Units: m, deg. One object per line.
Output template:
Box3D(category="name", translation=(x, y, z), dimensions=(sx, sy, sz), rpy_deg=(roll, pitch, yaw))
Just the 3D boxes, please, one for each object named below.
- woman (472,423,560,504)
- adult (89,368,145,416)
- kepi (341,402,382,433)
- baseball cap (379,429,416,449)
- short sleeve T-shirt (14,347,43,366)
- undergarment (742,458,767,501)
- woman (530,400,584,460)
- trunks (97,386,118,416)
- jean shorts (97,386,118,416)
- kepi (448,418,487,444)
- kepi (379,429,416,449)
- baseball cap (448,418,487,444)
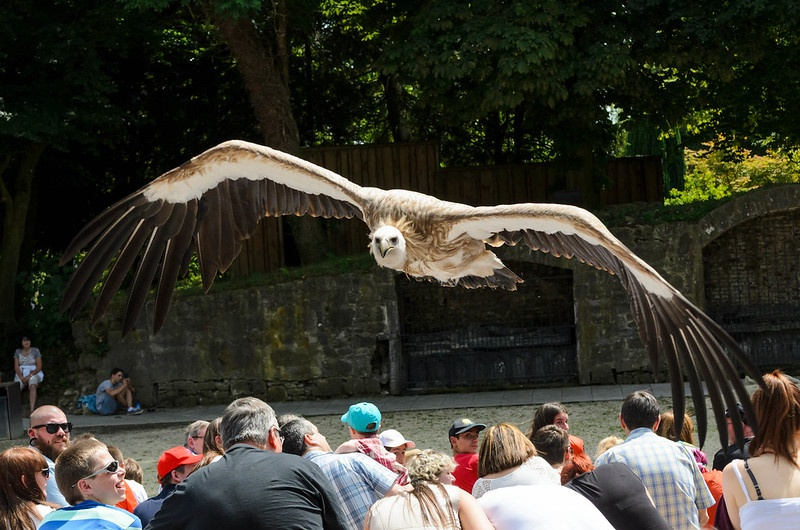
Box3D(category="woman", translation=(1.845, 3.198, 22.240), dimensions=(1.455, 0.747, 1.768), rpy_deg=(-1, 37, 7))
Box3D(category="adult", translation=(-6.319, 2.828, 32.718), dimensions=(1.235, 1.036, 0.744), rpy_deg=(-4, 1, 27))
Box3D(category="kepi", translation=(-0.637, 2.416, 23.300), dimensions=(0.436, 0.281, 0.579), rpy_deg=(-5, 15, -26))
Box3D(category="baseball cap", translation=(-0.050, 2.843, 23.610), dimensions=(0.492, 0.221, 0.321), rpy_deg=(-8, -9, 40))
Box3D(category="short sleeve T-shirt", translation=(-8.517, 2.102, 33.094), dimensions=(0.711, 0.518, 0.374), rpy_deg=(0, -11, -9))
Box3D(category="undergarment", translation=(5.322, 3.270, 21.707), dimensions=(0.124, 0.479, 0.307), rpy_deg=(-9, -6, -7))
Box3D(category="woman", translation=(2.482, 2.670, 23.858), dimensions=(0.826, 0.855, 0.807), rpy_deg=(8, 16, 44))
Box3D(category="trunks", translation=(-6.538, 3.061, 32.616), dimensions=(0.521, 0.736, 0.693), rpy_deg=(-4, -4, -15))
Box3D(category="jean shorts", translation=(-6.718, 3.079, 32.915), dimensions=(0.521, 0.736, 0.693), rpy_deg=(-4, -4, -15))
Box3D(category="kepi", translation=(1.082, 2.719, 23.705), dimensions=(0.485, 0.178, 0.337), rpy_deg=(-18, -11, 26))
Box3D(category="kepi", translation=(-0.050, 2.844, 23.624), dimensions=(0.492, 0.221, 0.321), rpy_deg=(-8, -9, 40))
Box3D(category="baseball cap", translation=(1.048, 2.721, 23.724), dimensions=(0.485, 0.178, 0.337), rpy_deg=(-18, -11, 26))
